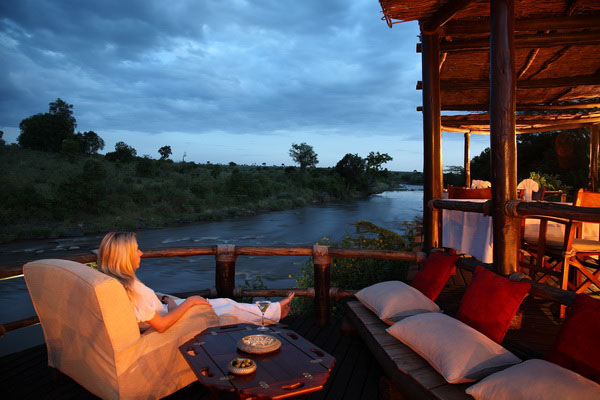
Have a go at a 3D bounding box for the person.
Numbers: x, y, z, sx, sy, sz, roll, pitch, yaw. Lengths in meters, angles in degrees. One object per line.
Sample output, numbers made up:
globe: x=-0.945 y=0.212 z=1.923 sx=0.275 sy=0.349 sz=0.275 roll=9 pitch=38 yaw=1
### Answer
person: x=-1.191 y=1.091 z=4.420 sx=0.994 sy=1.311 sz=2.453 roll=-5 pitch=-10 yaw=39
